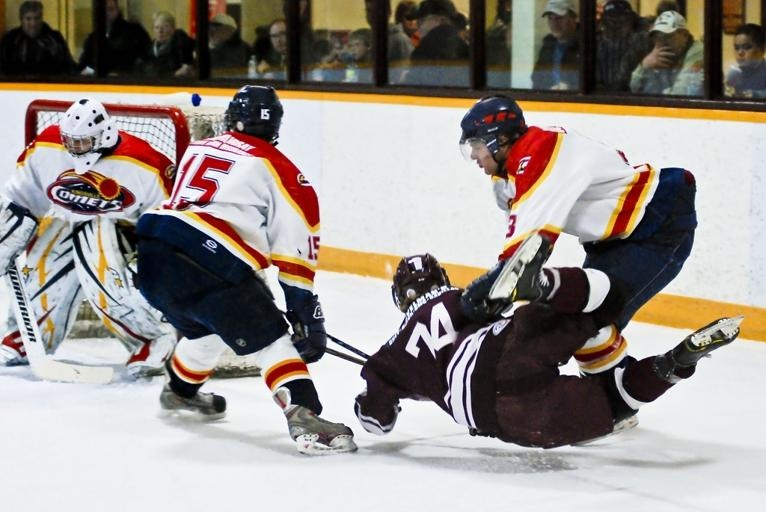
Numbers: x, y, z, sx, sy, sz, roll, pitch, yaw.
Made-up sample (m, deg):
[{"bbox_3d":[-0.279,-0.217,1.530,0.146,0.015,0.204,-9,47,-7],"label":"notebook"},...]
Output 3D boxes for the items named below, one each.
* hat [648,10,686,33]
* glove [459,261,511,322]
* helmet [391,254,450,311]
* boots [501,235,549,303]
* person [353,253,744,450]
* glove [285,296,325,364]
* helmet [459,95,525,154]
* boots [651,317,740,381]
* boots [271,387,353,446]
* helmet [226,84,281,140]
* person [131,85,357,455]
[{"bbox_3d":[1.720,-1.402,6.545,0.159,0.082,0.114,-3,9,-20],"label":"hat"},{"bbox_3d":[0.428,0.167,4.745,0.273,0.114,0.175,-25,5,17],"label":"glove"},{"bbox_3d":[0.135,0.081,5.015,0.226,0.274,0.272,-20,9,-3],"label":"helmet"},{"bbox_3d":[0.640,0.067,4.711,0.169,0.126,0.374,-6,-34,-32],"label":"boots"},{"bbox_3d":[0.692,0.463,4.826,1.589,0.688,0.832,-3,-9,37],"label":"person"},{"bbox_3d":[-0.367,0.338,5.140,0.214,0.299,0.122,-11,7,-11],"label":"glove"},{"bbox_3d":[0.500,-0.609,4.964,0.289,0.223,0.223,0,5,10],"label":"helmet"},{"bbox_3d":[1.571,0.475,5.407,0.427,0.139,0.140,-34,39,11],"label":"boots"},{"bbox_3d":[-0.303,0.759,5.026,0.136,0.289,0.416,-36,-28,31],"label":"boots"},{"bbox_3d":[-0.655,-0.688,5.265,0.216,0.272,0.280,-6,23,-44],"label":"helmet"},{"bbox_3d":[-0.621,0.027,5.130,1.067,1.617,0.524,6,10,19],"label":"person"}]
